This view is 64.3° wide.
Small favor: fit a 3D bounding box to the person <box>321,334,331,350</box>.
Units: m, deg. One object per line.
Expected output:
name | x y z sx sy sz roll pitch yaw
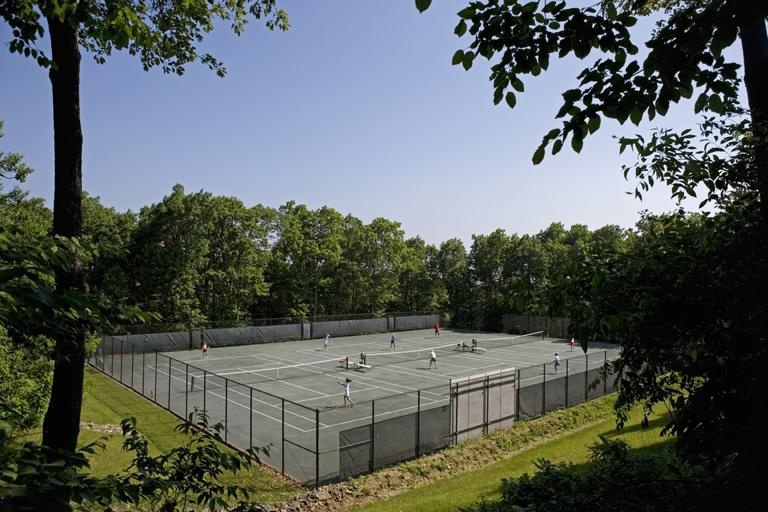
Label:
person | -5.819 8.555 60.833 0.646 1.974 0.867 -2 11 -13
